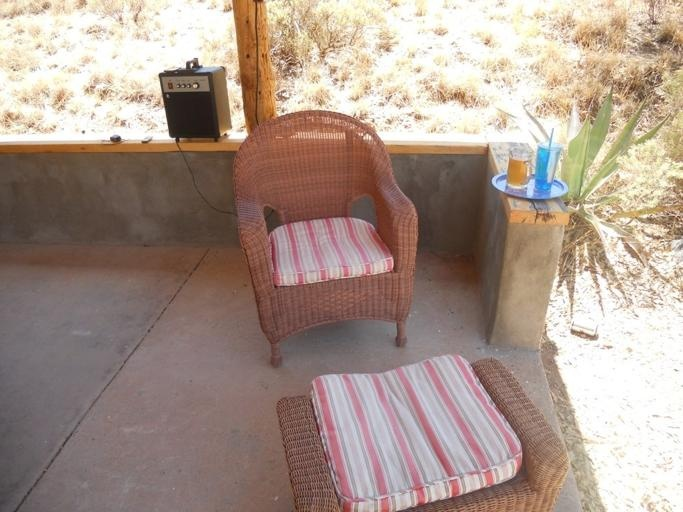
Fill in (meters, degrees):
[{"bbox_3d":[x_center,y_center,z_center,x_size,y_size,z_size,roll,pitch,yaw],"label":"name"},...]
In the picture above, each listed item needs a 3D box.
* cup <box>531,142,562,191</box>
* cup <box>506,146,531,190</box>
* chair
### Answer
[{"bbox_3d":[1.079,-0.472,2.886,0.116,0.250,0.168,9,40,16],"label":"cup"},{"bbox_3d":[0.953,-0.480,2.928,0.114,0.150,0.207,10,42,17],"label":"cup"},{"bbox_3d":[-0.104,-0.131,3.133,0.909,1.065,0.980,-10,39,-8],"label":"chair"}]
